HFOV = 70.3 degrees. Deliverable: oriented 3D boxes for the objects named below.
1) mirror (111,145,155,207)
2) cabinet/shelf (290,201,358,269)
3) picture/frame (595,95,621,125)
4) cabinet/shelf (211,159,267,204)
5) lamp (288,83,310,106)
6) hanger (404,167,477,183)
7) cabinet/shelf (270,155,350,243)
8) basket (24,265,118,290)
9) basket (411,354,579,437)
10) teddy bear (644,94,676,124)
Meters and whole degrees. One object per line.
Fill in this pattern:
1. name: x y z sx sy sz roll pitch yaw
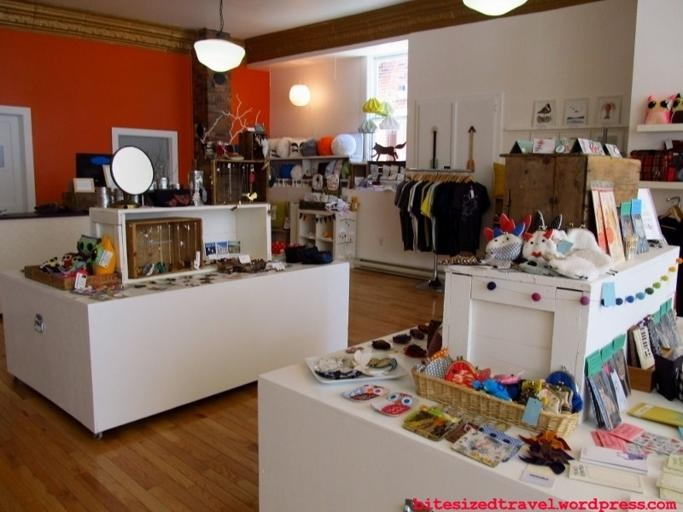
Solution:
1. mirror: -1.501 -0.584 3.476 0.193 0.397 0.359 5 13 15
2. cabinet/shelf: -0.189 -0.344 7.006 1.013 1.022 0.361 5 6 44
3. picture/frame: 3.039 -1.676 5.515 0.292 0.415 0.038 9 6 39
4. cabinet/shelf: -0.846 -0.624 4.001 0.509 0.355 0.139 -11 17 -44
5. lamp: -0.753 -2.935 8.882 0.394 0.443 0.415 -11 22 -37
6. hanger: 1.278 -1.116 6.623 1.183 0.165 0.521 12 16 37
7. cabinet/shelf: -0.496 -0.971 8.413 0.467 1.391 1.465 -9 15 -40
8. basket: -1.871 0.129 3.290 0.725 0.113 0.298 8 14 25
9. basket: 0.509 0.421 1.658 0.452 0.093 0.237 17 13 35
10. teddy bear: 3.030 -1.401 4.637 0.224 0.278 0.177 9 15 32
